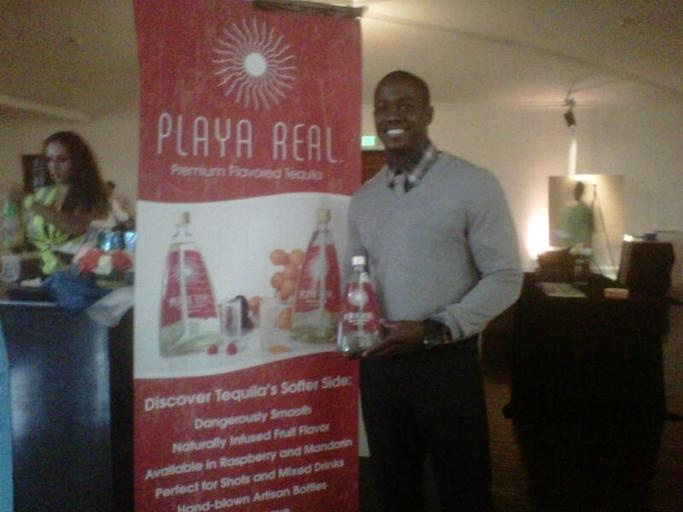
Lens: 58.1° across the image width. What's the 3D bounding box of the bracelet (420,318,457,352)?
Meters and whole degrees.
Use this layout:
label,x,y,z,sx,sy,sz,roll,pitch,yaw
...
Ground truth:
label,x,y,z,sx,sy,sz,roll,pitch,yaw
bracelet,0.368,0.300,2.309,0.123,0.104,0.085,-2,6,16
